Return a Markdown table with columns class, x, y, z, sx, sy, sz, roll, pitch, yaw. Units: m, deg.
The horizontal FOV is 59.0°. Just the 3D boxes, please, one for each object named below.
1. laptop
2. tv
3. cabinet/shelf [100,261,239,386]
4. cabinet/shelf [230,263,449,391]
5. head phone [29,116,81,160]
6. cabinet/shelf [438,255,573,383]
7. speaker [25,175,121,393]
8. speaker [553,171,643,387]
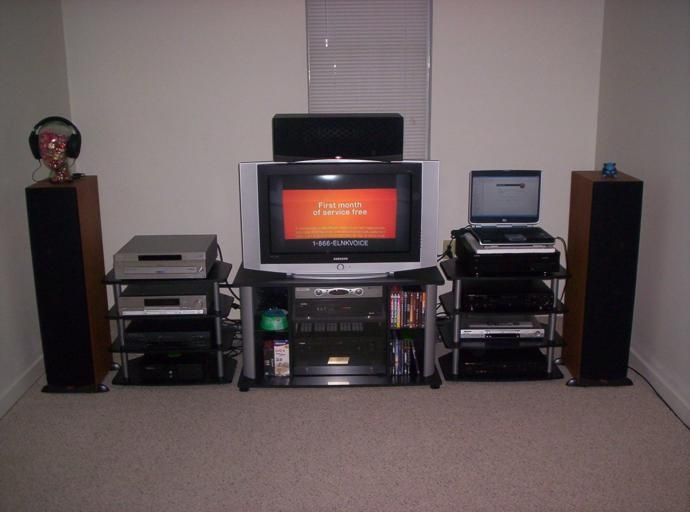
| class | x | y | z | sx | sy | sz | roll | pitch | yaw |
| --- | --- | --- | --- | --- | --- | --- | --- | --- | --- |
| laptop | 1.121 | -0.347 | 4.220 | 0.659 | 0.597 | 0.504 | 0 | 21 | 0 |
| tv | -0.060 | -0.002 | 4.373 | 1.359 | 0.876 | 0.734 | 0 | 9 | 0 |
| cabinet/shelf | -1.224 | 0.497 | 4.432 | 0.858 | 0.732 | 0.848 | 1 | 20 | -3 |
| cabinet/shelf | -0.046 | 0.542 | 4.355 | 1.291 | 0.783 | 0.562 | -1 | 5 | -1 |
| head phone | -1.936 | -0.776 | 4.026 | 0.305 | 0.287 | 0.117 | -6 | 13 | -21 |
| cabinet/shelf | 1.107 | 0.429 | 4.401 | 0.865 | 0.716 | 0.632 | -1 | 13 | -2 |
| speaker | -1.838 | 0.186 | 4.092 | 0.436 | 1.431 | 0.335 | -6 | 9 | -25 |
| speaker | 1.720 | 0.151 | 4.133 | 0.461 | 1.438 | 0.374 | 1 | 8 | 19 |
